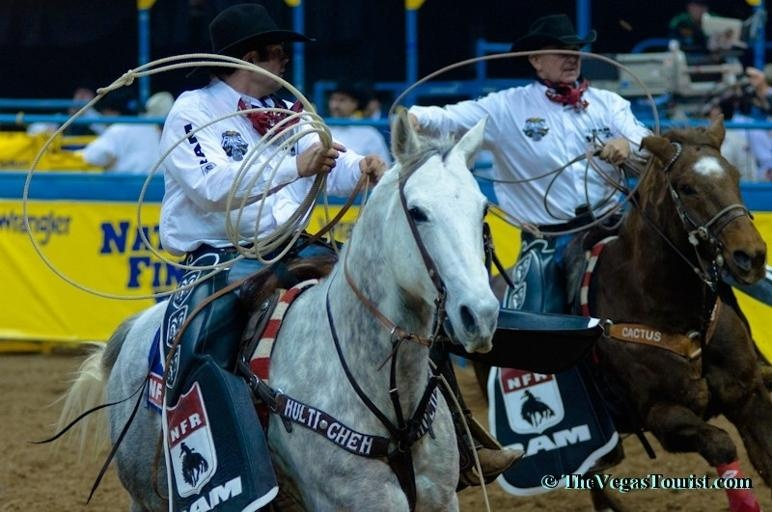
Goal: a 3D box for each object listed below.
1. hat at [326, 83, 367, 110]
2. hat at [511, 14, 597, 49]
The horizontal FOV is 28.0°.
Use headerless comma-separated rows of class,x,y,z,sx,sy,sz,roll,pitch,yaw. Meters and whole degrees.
hat,-0.508,-1.962,19.020,0.372,0.329,0.431,-22,-10,38
hat,1.460,-2.049,13.931,0.427,0.193,0.488,3,-16,-44
